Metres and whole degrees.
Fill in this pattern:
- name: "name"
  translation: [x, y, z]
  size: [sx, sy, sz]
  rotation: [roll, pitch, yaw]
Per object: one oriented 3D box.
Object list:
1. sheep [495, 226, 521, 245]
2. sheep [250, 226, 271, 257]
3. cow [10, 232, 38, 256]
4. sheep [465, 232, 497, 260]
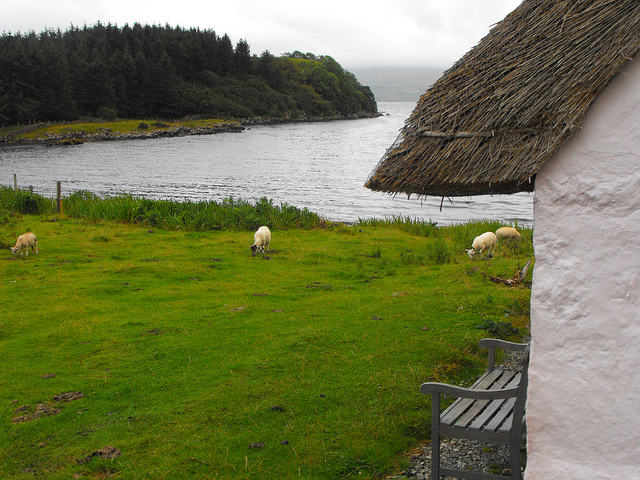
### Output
- name: "sheep"
  translation: [5.864, -0.094, 19.673]
  size: [0.712, 0.608, 0.822]
  rotation: [3, 13, 17]
- name: "sheep"
  translation: [-1.780, 0.061, 18.585]
  size: [0.426, 0.729, 1.303]
  rotation: [4, 20, 10]
- name: "cow"
  translation: [-8.222, 0.123, 17.487]
  size: [0.588, 0.613, 0.664]
  rotation: [-4, 12, -13]
- name: "sheep"
  translation: [4.675, 0.185, 18.090]
  size: [0.527, 0.775, 1.236]
  rotation: [8, 15, 36]
